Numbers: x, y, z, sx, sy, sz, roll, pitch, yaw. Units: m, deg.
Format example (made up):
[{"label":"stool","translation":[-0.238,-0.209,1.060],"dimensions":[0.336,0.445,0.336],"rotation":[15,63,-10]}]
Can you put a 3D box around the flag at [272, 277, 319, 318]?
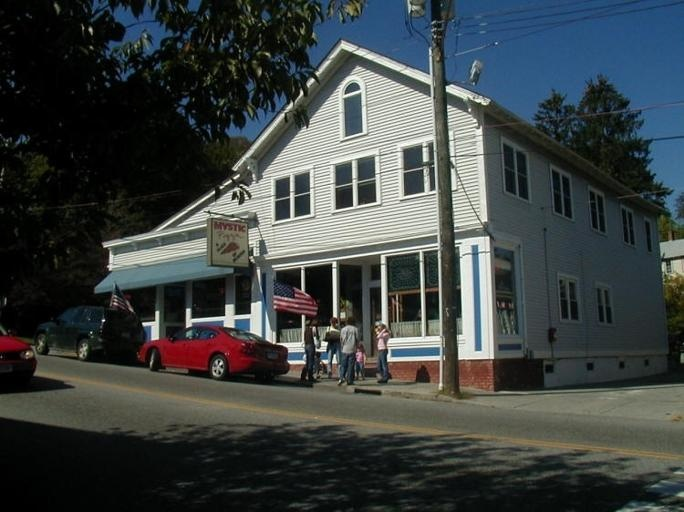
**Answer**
[{"label":"flag","translation":[-1.608,1.482,23.486],"dimensions":[1.335,1.112,0.145],"rotation":[8,-33,2]}]

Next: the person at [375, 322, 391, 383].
[{"label":"person","translation":[1.259,2.895,20.246],"dimensions":[0.416,1.725,1.323],"rotation":[1,-4,3]}]

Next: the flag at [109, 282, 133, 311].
[{"label":"flag","translation":[-8.664,1.551,26.174],"dimensions":[0.102,1.035,0.932],"rotation":[-32,-50,17]}]

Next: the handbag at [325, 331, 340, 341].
[{"label":"handbag","translation":[-0.311,2.511,21.111],"dimensions":[0.316,0.247,0.323],"rotation":[1,1,39]}]

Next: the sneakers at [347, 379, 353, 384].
[{"label":"sneakers","translation":[0.241,3.617,19.257],"dimensions":[0.175,0.108,0.339],"rotation":[2,-4,0]}]

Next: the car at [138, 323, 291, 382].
[{"label":"car","translation":[-4.081,2.848,20.043],"dimensions":[4.979,1.566,1.820],"rotation":[0,-4,30]}]

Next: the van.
[{"label":"van","translation":[-8.816,2.591,23.170],"dimensions":[3.610,1.550,1.796],"rotation":[3,-6,43]}]
